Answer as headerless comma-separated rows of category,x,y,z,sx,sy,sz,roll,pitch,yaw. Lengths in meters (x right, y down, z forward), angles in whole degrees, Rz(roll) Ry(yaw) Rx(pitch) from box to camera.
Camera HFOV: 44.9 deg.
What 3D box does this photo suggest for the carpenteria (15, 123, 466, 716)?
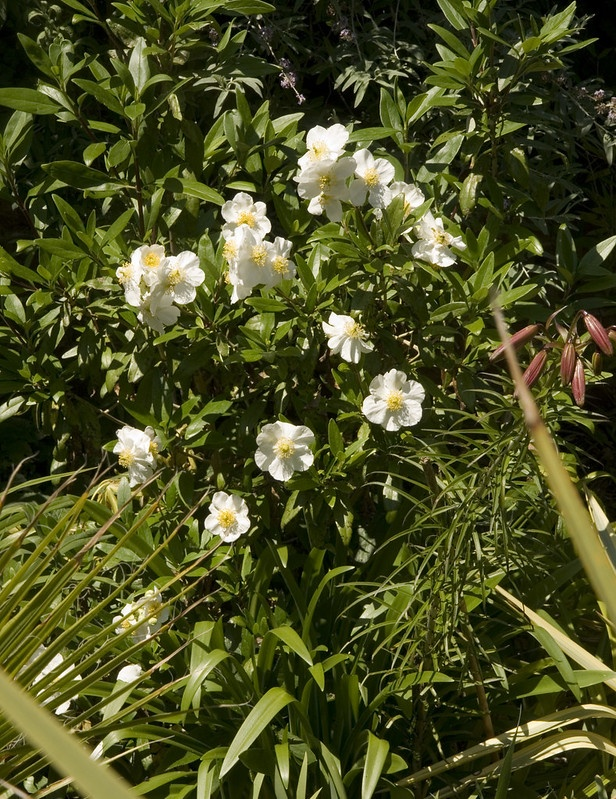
carpenteria,-0.047,-0.113,1.363,0.797,0.346,0.531,-36,82,-8
